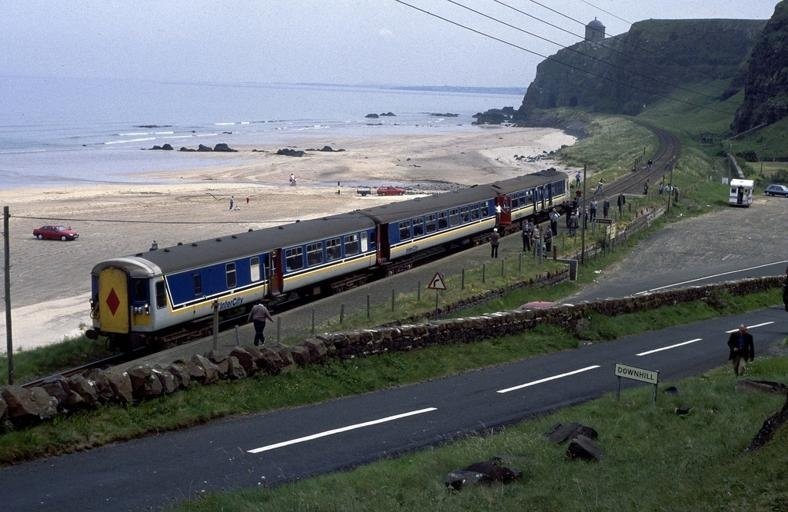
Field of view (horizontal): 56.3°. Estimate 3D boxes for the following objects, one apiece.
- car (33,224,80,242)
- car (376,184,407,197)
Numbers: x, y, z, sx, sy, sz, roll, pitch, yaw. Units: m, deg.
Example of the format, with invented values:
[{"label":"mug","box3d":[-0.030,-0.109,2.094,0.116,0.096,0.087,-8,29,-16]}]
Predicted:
[{"label":"car","box3d":[-29.977,-1.963,65.105,3.944,1.122,1.686,2,6,17]},{"label":"car","box3d":[-0.373,-8.517,95.408,3.998,1.237,1.679,-1,3,-26]}]
